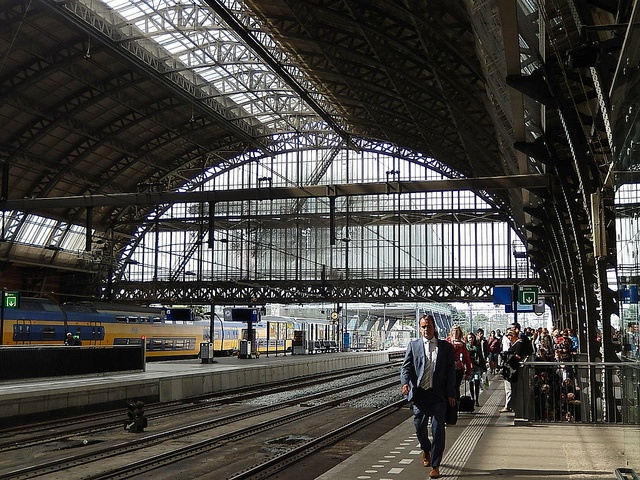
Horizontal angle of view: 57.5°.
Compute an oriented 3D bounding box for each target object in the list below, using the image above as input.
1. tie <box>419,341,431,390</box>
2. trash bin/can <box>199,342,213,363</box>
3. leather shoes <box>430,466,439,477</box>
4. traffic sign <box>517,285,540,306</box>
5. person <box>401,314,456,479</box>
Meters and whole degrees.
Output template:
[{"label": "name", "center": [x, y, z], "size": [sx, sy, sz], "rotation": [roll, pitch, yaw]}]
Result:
[{"label": "tie", "center": [1.709, 2.001, 9.308], "size": [0.187, 0.756, 0.075], "rotation": [2, -13, 2]}, {"label": "trash bin/can", "center": [-6.894, 6.886, 35.501], "size": [0.625, 1.306, 1.115], "rotation": [1, -13, 9]}, {"label": "leather shoes", "center": [1.800, 3.627, 9.103], "size": [0.162, 0.175, 0.463], "rotation": [-2, -21, 11]}, {"label": "traffic sign", "center": [9.620, 2.531, 26.900], "size": [0.833, 0.920, 0.822], "rotation": [-2, -13, 18]}, {"label": "person", "center": [1.716, 2.491, 9.374], "size": [0.936, 2.540, 0.761], "rotation": [9, -14, -27]}]
